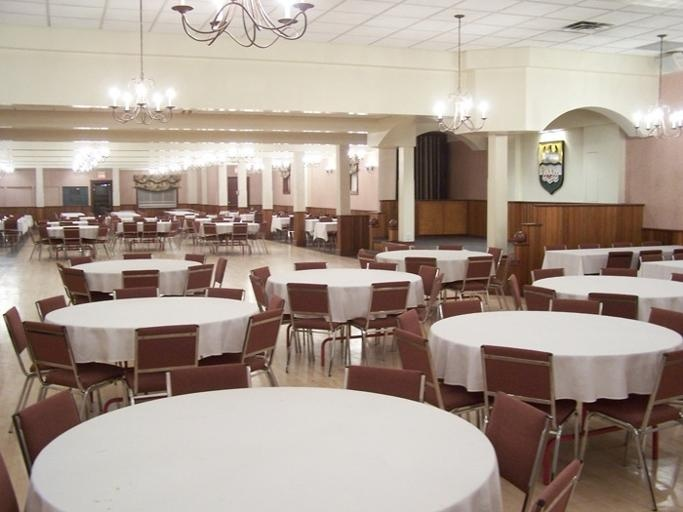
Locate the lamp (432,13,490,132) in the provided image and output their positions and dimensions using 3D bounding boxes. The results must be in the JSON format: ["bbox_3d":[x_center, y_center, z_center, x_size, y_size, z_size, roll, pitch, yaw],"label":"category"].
[{"bbox_3d":[2.156,-3.477,9.882,0.882,2.029,0.927,3,22,6],"label":"lamp"}]
